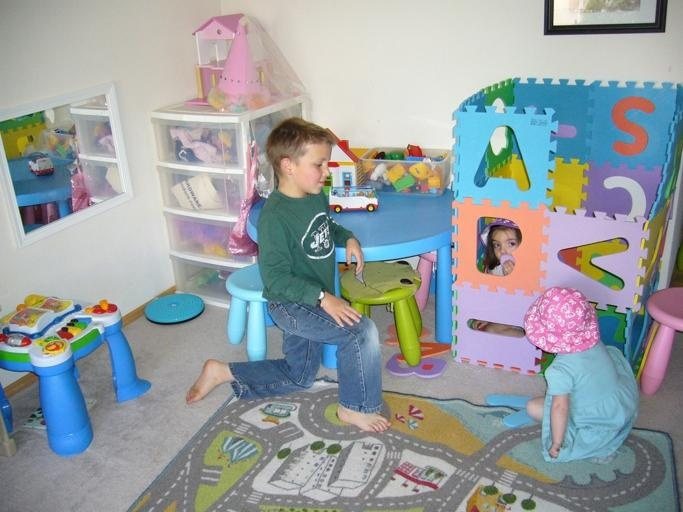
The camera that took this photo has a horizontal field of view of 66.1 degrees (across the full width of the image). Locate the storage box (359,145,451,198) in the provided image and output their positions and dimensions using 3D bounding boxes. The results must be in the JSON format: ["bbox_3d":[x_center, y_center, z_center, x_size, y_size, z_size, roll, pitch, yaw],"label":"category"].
[{"bbox_3d":[0.337,-0.475,2.838,0.447,0.171,0.286,3,18,14],"label":"storage box"}]

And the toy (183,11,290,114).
[{"bbox_3d":[-0.560,-1.085,3.011,0.676,0.538,0.524,21,35,28],"label":"toy"}]
